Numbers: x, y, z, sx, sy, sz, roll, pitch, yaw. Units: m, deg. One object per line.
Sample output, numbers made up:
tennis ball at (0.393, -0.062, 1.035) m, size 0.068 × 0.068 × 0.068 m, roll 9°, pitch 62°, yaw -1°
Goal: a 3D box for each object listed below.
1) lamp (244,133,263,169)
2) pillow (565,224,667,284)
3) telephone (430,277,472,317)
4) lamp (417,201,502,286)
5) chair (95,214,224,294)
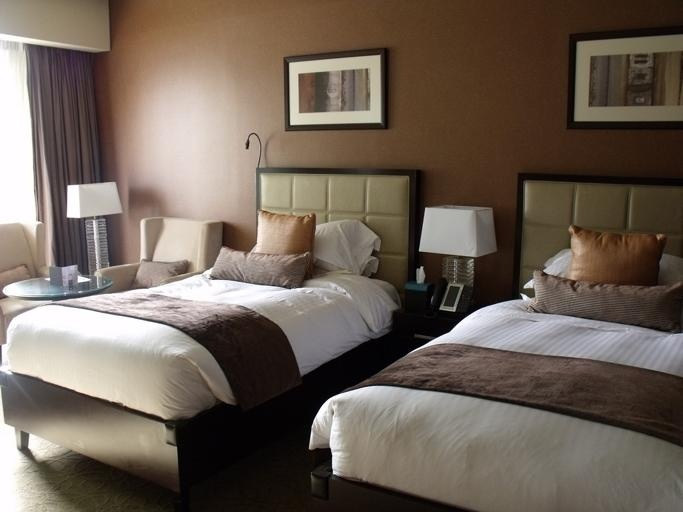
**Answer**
lamp at (-0.840, -1.013, 4.819) m, size 0.209 × 0.324 × 0.064 m, roll 8°, pitch 12°, yaw 38°
pillow at (1.689, -0.003, 3.108) m, size 0.333 × 0.258 × 0.121 m, roll 6°, pitch -26°, yaw 36°
telephone at (0.809, 0.303, 3.766) m, size 0.236 × 0.274 × 0.064 m, roll 7°, pitch -23°, yaw 21°
lamp at (0.826, -0.122, 3.650) m, size 0.492 × 0.818 × 0.496 m, roll 5°, pitch 8°, yaw 29°
chair at (-1.754, -0.123, 5.191) m, size 0.811 × 1.185 × 0.868 m, roll 4°, pitch 5°, yaw 28°
